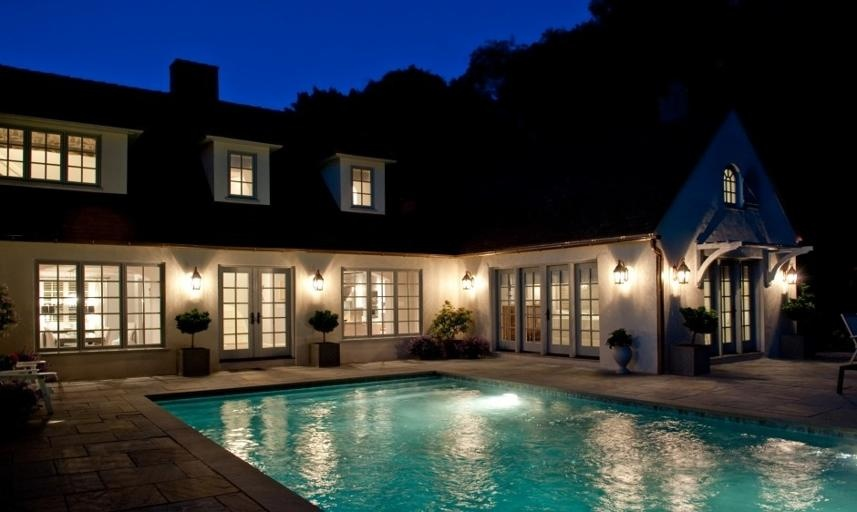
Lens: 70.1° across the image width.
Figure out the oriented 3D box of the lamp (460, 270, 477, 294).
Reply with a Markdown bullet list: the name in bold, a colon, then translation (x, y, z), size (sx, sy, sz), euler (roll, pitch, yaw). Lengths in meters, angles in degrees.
- **lamp**: translation (1.478, 0.993, 23.899), size (0.659, 0.837, 0.296), euler (8, 10, 43)

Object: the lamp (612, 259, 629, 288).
- **lamp**: translation (6.244, 0.556, 19.701), size (0.522, 0.833, 0.346), euler (3, 8, 14)

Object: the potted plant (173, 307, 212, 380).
- **potted plant**: translation (-7.513, 2.694, 19.377), size (0.942, 1.994, 1.123), euler (-6, 11, -43)

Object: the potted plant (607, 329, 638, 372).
- **potted plant**: translation (6.172, 2.981, 19.490), size (0.725, 1.323, 0.713), euler (-6, 10, -42)

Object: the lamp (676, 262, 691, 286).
- **lamp**: translation (8.195, 0.548, 19.499), size (0.634, 0.787, 0.268), euler (-5, 9, -37)

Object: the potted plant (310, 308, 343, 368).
- **potted plant**: translation (-3.657, 2.806, 21.068), size (1.006, 1.851, 1.071), euler (-1, 8, -11)

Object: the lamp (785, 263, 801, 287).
- **lamp**: translation (13.387, 0.679, 22.443), size (0.704, 0.853, 0.387), euler (-6, 10, -42)

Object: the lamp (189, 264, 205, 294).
- **lamp**: translation (-7.672, 0.762, 19.858), size (0.415, 0.842, 0.334), euler (-2, 8, -21)

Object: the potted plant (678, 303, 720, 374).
- **potted plant**: translation (8.638, 2.567, 19.427), size (0.960, 2.001, 1.852), euler (8, 10, 42)
